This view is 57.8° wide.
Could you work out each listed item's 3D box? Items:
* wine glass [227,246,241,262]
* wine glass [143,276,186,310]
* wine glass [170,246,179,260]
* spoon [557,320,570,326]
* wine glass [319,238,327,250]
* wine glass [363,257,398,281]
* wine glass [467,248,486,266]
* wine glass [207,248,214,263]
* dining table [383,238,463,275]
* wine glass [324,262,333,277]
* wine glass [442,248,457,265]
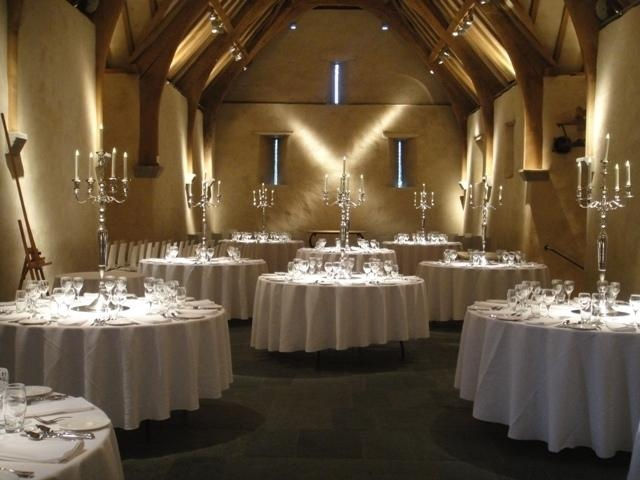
[{"bbox_3d":[-1.221,0.197,8.234,0.195,0.249,0.228,2,-6,-6],"label":"wine glass"},{"bbox_3d":[-1.215,0.410,4.529,0.224,0.241,0.281,1,-6,10],"label":"wine glass"},{"bbox_3d":[-2.025,0.173,8.015,0.146,0.176,0.114,0,8,-11],"label":"wine glass"},{"bbox_3d":[1.760,0.594,4.177,0.042,0.027,0.067,-4,1,1],"label":"spoon"},{"bbox_3d":[0.049,0.053,10.188,0.149,0.182,0.123,6,-6,-21],"label":"wine glass"},{"bbox_3d":[0.650,0.336,6.291,0.244,0.135,0.310,0,4,-4],"label":"wine glass"},{"bbox_3d":[2.247,0.238,8.307,0.249,0.278,0.243,8,-8,-43],"label":"wine glass"},{"bbox_3d":[-1.557,0.198,8.212,0.132,0.247,0.132,1,0,-20],"label":"wine glass"},{"bbox_3d":[2.142,0.561,12.278,1.507,0.922,1.552,-3,-7,45],"label":"dining table"},{"bbox_3d":[0.066,0.308,6.240,0.106,0.202,0.113,3,0,12],"label":"wine glass"},{"bbox_3d":[1.876,0.235,8.393,0.205,0.248,0.231,3,-5,9],"label":"wine glass"}]
